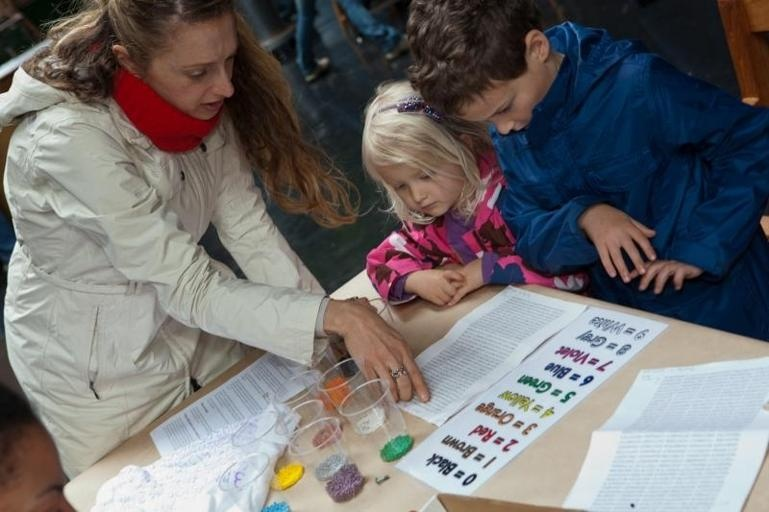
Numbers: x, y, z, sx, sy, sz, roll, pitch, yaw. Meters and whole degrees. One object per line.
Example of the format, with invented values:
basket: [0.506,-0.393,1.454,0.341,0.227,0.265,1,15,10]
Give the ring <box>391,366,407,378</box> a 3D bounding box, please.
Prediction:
ring: [0.039,0.288,1.574,0.027,0.015,0.029,-1,4,0]
